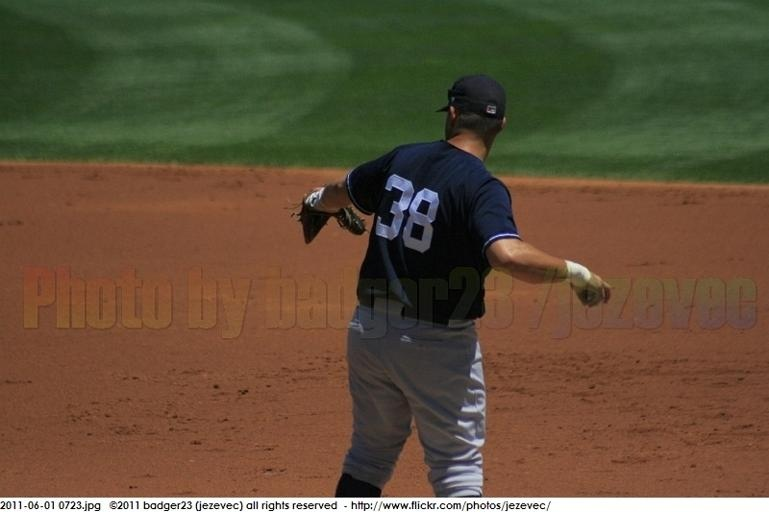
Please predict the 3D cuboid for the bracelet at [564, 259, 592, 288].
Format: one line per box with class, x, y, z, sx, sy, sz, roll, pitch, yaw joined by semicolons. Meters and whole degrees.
bracelet;2.768;0.248;26.659;0.310;0.243;0.381;5;-4;1
